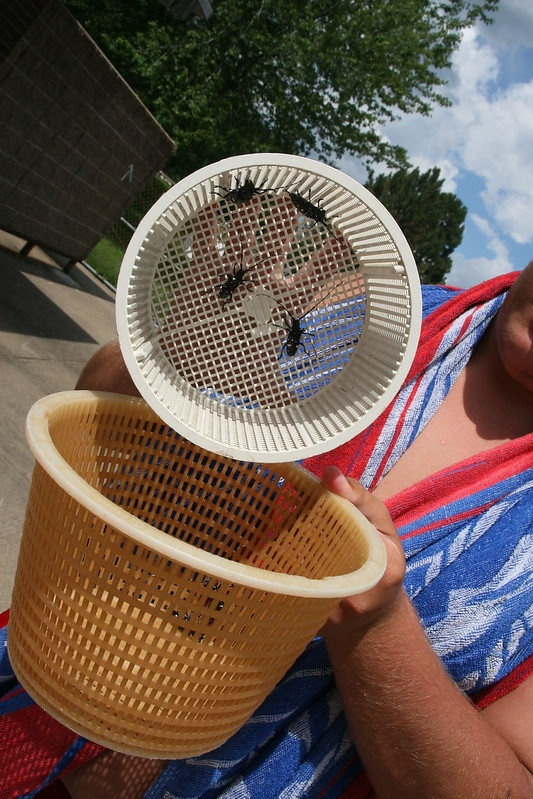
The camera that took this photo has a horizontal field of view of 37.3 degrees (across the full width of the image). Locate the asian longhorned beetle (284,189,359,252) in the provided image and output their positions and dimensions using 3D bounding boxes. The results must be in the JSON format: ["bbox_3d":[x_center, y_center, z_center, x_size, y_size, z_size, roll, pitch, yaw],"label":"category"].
[{"bbox_3d":[0.084,-0.297,1.286,0.109,0.025,0.092,16,57,-28],"label":"asian longhorned beetle"}]

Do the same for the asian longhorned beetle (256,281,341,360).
[{"bbox_3d":[0.045,-0.129,1.349,0.126,0.040,0.123,6,84,-2],"label":"asian longhorned beetle"}]

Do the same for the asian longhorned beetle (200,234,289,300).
[{"bbox_3d":[-0.033,-0.214,1.304,0.074,0.100,0.027,38,8,-23],"label":"asian longhorned beetle"}]

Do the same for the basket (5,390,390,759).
[{"bbox_3d":[-0.173,0.201,1.298,0.660,0.384,0.609,20,18,-31],"label":"basket"}]
